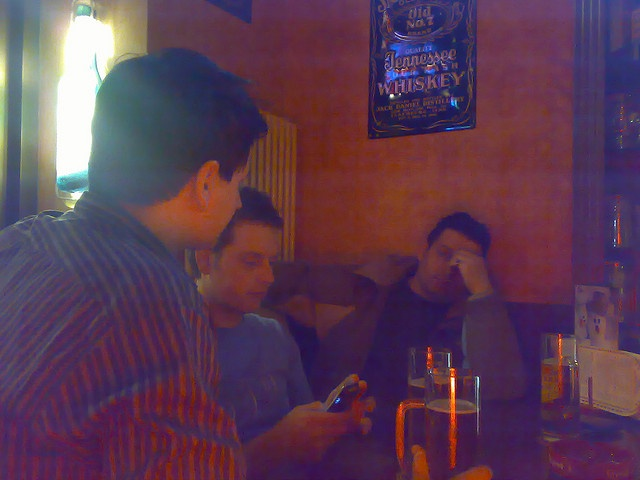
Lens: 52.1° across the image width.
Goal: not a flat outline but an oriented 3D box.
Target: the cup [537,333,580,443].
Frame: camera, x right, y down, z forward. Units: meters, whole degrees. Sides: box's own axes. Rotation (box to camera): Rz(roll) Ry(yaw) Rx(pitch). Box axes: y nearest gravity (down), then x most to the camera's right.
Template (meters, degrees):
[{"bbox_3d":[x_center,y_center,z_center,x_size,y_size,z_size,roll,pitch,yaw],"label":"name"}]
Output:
[{"bbox_3d":[0.709,0.429,1.937,0.102,0.332,0.105,-3,5,0],"label":"cup"}]
